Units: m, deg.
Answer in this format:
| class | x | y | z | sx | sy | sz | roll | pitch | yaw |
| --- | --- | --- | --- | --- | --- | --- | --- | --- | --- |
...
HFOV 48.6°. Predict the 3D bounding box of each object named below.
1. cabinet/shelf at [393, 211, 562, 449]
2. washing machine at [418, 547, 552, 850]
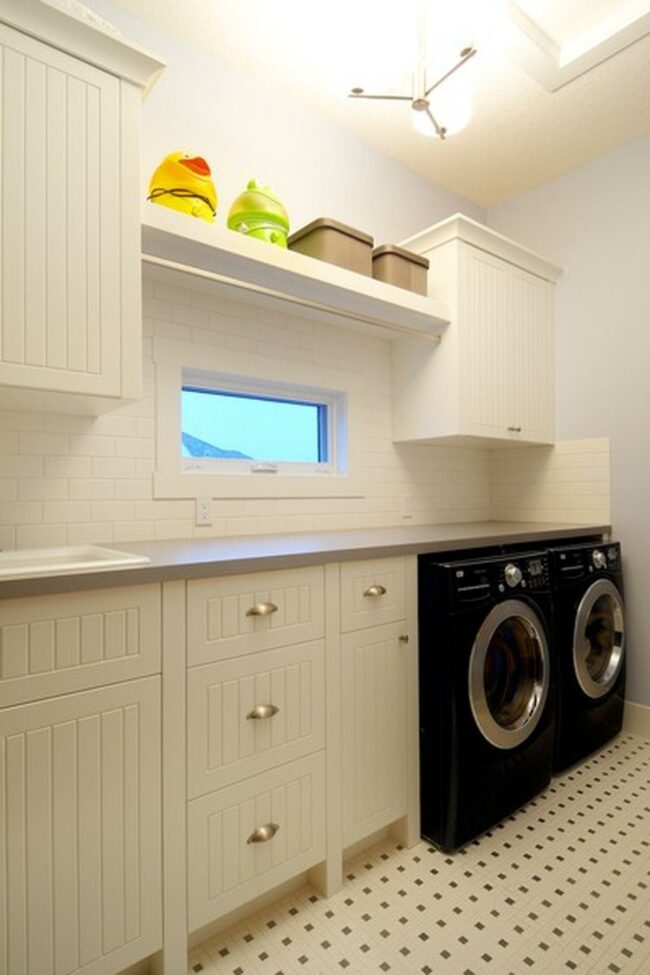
| class | x | y | z | sx | sy | sz | roll | pitch | yaw |
| --- | --- | --- | --- | --- | --- | --- | --- | --- | --- |
| cabinet/shelf | 0.593 | -0.578 | 2.827 | 0.947 | 1.035 | 0.455 | 3 | -5 | -44 |
| washing machine | 0.492 | 0.593 | 2.177 | 0.197 | 0.810 | 0.561 | 4 | 6 | 44 |
